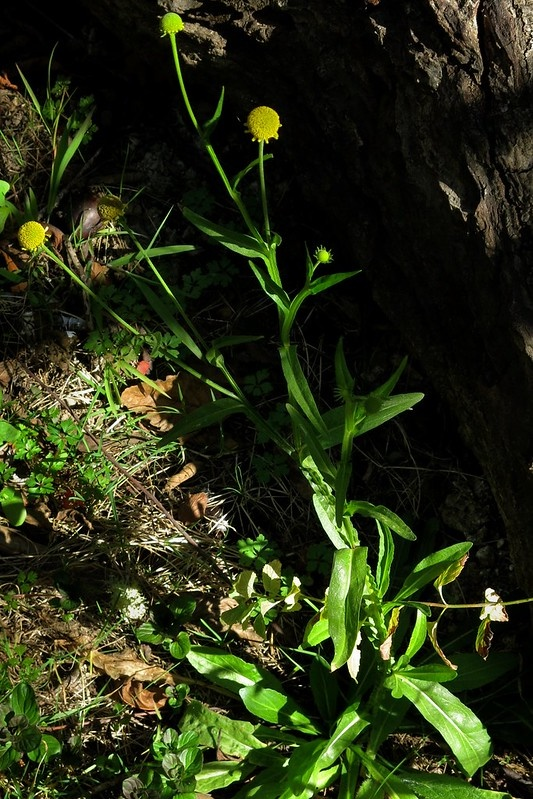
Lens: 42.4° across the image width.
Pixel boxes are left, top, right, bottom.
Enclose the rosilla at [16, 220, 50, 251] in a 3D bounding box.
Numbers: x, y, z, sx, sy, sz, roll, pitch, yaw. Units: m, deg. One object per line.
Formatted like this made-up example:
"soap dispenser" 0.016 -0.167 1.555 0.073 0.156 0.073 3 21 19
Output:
"rosilla" -0.580 -0.400 1.701 0.078 0.081 0.084 2 5 3
